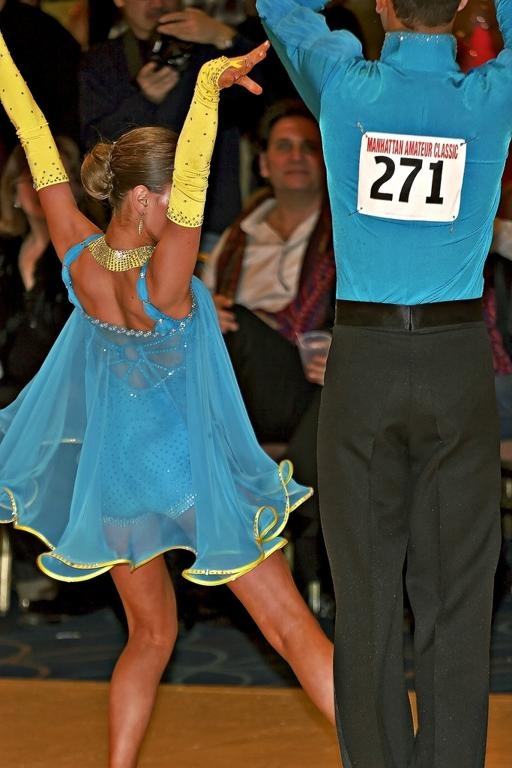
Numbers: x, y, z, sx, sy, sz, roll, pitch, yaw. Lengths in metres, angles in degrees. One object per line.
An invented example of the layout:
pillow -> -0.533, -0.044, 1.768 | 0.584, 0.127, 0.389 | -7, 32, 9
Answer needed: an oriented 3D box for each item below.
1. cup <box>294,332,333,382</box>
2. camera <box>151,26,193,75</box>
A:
cup -> 0.259, -0.126, 3.679 | 0.197, 0.209, 0.084 | 1, -5, 6
camera -> -0.397, -1.531, 3.777 | 0.177, 0.195, 0.185 | 22, 9, 9
